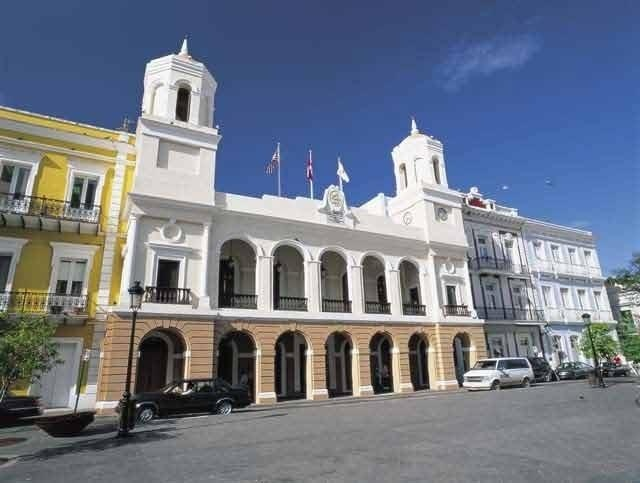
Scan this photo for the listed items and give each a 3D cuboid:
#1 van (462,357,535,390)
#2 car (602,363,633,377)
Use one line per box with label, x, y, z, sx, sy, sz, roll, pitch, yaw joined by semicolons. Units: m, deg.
van;10.519;7.911;23.003;4.210;1.634;2.006;17;-33;-26
car;22.845;10.016;30.266;1.237;0.802;2.305;-3;-21;16
